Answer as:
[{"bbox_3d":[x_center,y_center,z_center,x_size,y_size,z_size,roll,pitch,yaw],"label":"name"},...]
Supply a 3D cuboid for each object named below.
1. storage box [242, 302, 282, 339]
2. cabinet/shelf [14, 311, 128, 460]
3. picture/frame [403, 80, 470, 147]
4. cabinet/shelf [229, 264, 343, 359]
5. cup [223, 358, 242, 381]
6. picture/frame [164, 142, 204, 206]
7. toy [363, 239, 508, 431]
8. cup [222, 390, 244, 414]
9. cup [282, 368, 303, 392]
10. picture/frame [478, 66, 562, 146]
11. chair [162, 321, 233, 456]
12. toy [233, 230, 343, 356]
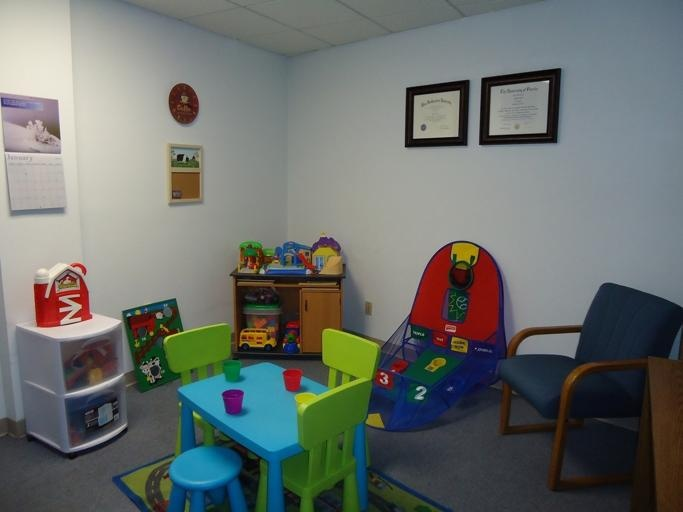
[{"bbox_3d":[-0.809,0.639,5.152,0.372,0.400,0.418,2,8,-5],"label":"storage box"},{"bbox_3d":[-1.973,0.916,3.775,0.578,0.927,0.622,5,13,11],"label":"cabinet/shelf"},{"bbox_3d":[0.873,-1.282,4.553,0.534,0.544,0.045,7,11,37],"label":"picture/frame"},{"bbox_3d":[-0.540,0.594,5.030,1.009,0.892,0.639,2,0,-6],"label":"cabinet/shelf"},{"bbox_3d":[-0.682,0.709,3.179,0.105,0.095,0.114,0,-1,0],"label":"cup"},{"bbox_3d":[-1.453,-0.756,4.637,0.041,0.698,0.450,12,17,35],"label":"picture/frame"},{"bbox_3d":[0.690,0.599,4.140,1.015,1.270,1.380,7,9,41],"label":"toy"},{"bbox_3d":[-0.605,0.814,2.876,0.107,0.095,0.114,0,12,0],"label":"cup"},{"bbox_3d":[-0.307,0.756,3.134,0.107,0.103,0.121,1,2,0],"label":"cup"},{"bbox_3d":[1.473,-1.229,4.132,0.579,0.642,0.044,6,9,36],"label":"picture/frame"},{"bbox_3d":[-0.833,0.869,3.241,0.425,0.718,0.435,-6,11,-18],"label":"chair"},{"bbox_3d":[-0.524,0.388,4.891,0.947,1.222,0.588,1,6,10],"label":"toy"}]
